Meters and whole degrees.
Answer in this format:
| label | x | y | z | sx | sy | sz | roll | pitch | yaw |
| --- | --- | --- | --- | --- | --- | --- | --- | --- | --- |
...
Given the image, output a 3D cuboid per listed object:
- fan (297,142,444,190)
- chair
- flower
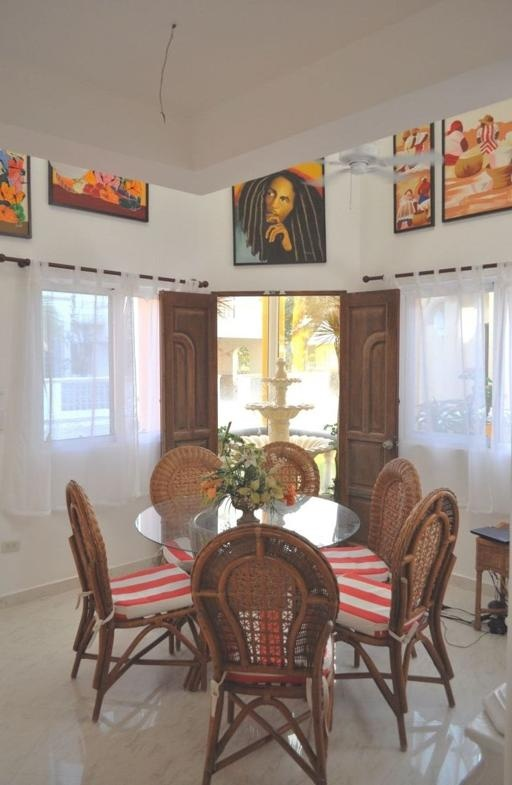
| label | x | y | z | sx | sy | sz | roll | pitch | yaw |
| --- | --- | --- | --- | --- | --- | --- | --- | --- | --- |
| fan | 0.528 | -1.005 | 2.487 | 0.490 | 0.149 | 0.451 | 0 | 0 | 8 |
| chair | 0.072 | 0.877 | 2.407 | 1.232 | 0.886 | 1.307 | -1 | -3 | 16 |
| flower | -0.025 | 0.390 | 2.648 | 0.393 | 0.452 | 0.412 | 10 | -16 | -43 |
